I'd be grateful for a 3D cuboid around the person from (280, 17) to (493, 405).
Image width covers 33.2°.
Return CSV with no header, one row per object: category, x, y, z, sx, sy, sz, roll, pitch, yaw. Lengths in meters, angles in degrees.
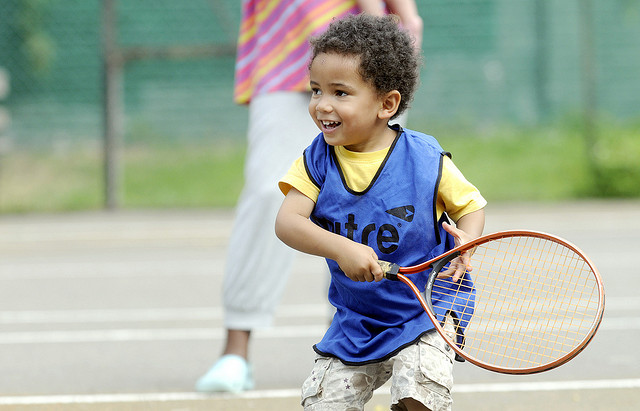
person,0.393,0.033,6.748,1.236,2.427,0.472,-2,5,6
